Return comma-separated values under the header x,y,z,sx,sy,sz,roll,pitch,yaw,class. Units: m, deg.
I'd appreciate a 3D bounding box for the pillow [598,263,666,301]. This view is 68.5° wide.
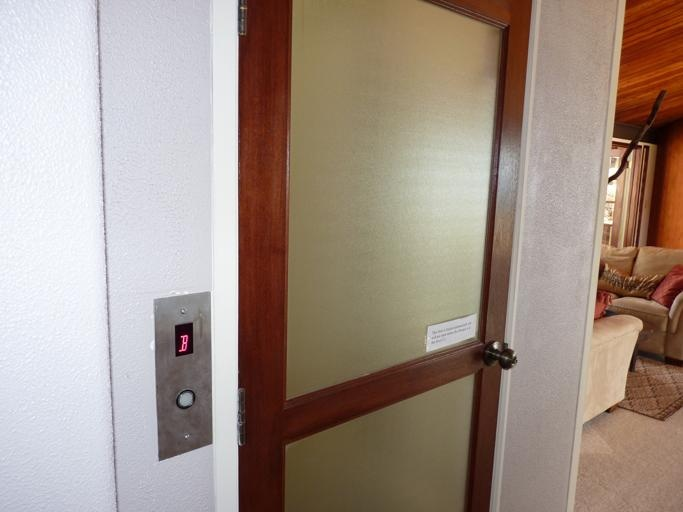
x,y,z,sx,sy,sz,roll,pitch,yaw,class
2.687,0.268,4.687,0.273,0.307,0.621,-13,11,-34,pillow
